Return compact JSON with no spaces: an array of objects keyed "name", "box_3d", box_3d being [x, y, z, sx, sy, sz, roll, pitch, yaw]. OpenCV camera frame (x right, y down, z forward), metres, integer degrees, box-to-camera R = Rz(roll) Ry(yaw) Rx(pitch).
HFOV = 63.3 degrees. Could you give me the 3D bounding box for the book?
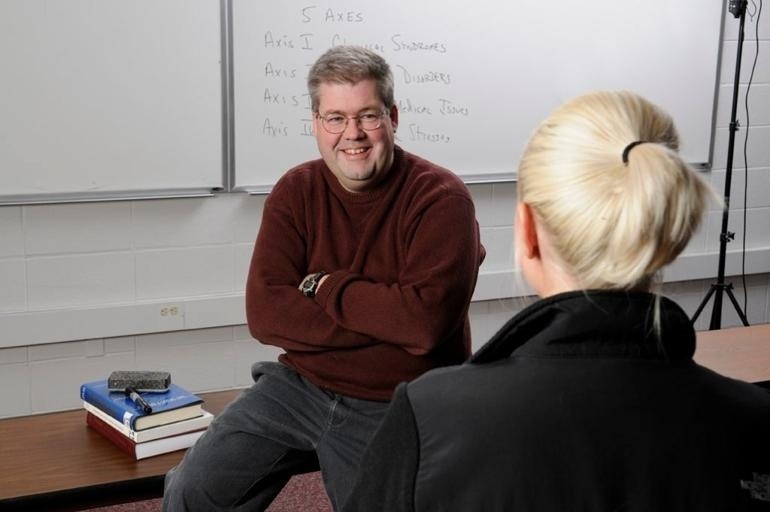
[{"name":"book","box_3d":[-0.757,0.466,1.917,0.213,0.096,0.279,-9,20,-40]}]
